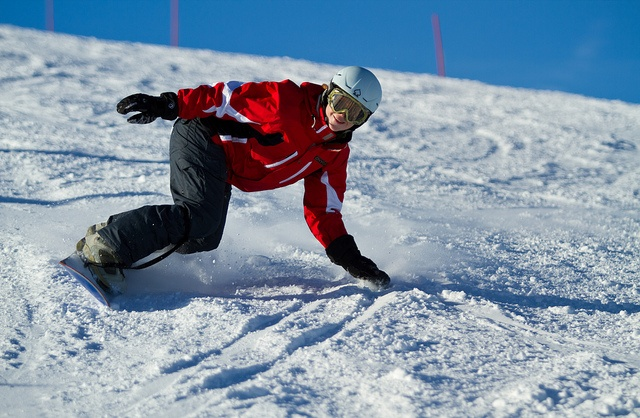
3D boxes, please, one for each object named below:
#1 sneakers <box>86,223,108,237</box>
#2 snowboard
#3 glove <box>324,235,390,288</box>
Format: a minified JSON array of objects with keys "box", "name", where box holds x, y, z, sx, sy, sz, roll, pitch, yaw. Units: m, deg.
[{"box":[-2.241,0.199,7.878,0.178,0.066,0.162,-29,-2,41],"name":"sneakers"},{"box":[-2.259,0.679,7.568,0.279,0.096,0.748,-28,56,-34],"name":"snowboard"},{"box":[0.433,0.579,8.233,0.677,0.271,0.382,39,31,20],"name":"glove"}]
